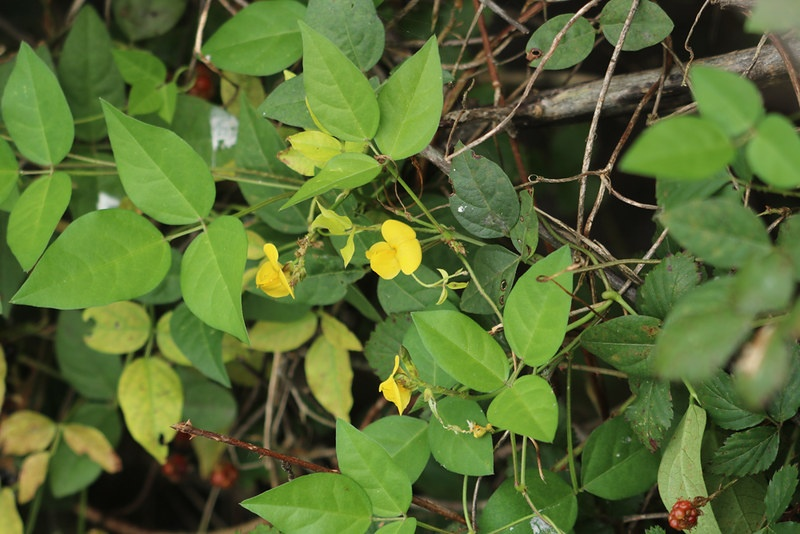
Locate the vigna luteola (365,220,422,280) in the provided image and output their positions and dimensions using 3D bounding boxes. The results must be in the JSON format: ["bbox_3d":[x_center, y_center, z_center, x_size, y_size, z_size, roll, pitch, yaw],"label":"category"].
[{"bbox_3d":[-0.018,-0.026,1.294,0.119,0.037,0.124,10,24,4],"label":"vigna luteola"}]
